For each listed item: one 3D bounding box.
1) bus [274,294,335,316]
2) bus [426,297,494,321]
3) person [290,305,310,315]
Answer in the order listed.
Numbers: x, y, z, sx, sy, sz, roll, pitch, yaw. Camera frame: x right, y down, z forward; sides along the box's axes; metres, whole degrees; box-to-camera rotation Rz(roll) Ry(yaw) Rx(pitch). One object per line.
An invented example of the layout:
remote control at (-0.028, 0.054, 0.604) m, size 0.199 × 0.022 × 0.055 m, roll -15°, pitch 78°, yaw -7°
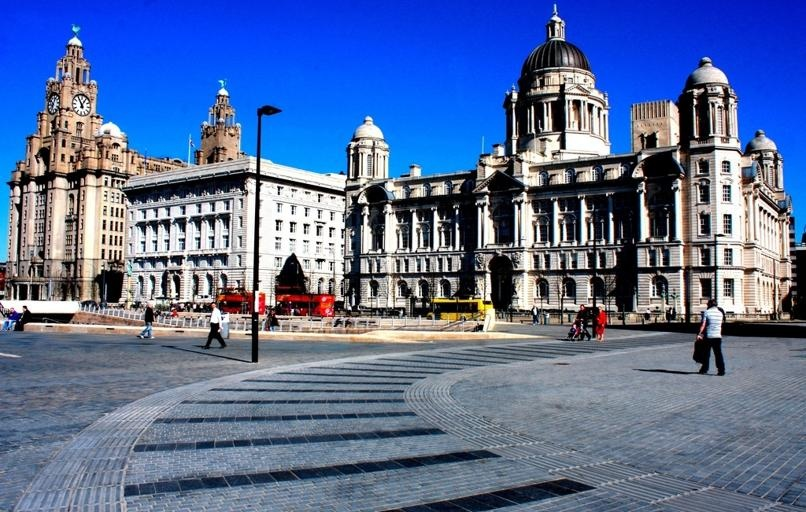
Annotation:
bus at (-11.848, 5.560, 110.546) m, size 7.894 × 2.023 × 2.615 m, roll 1°, pitch -4°, yaw 37°
bus at (5.911, 5.530, 101.418) m, size 6.638 × 2.009 × 2.251 m, roll -2°, pitch -4°, yaw 24°
person at (-11.658, 6.133, 109.494) m, size 1.213 × 1.163 × 3.119 m, roll 2°, pitch -6°, yaw -28°
